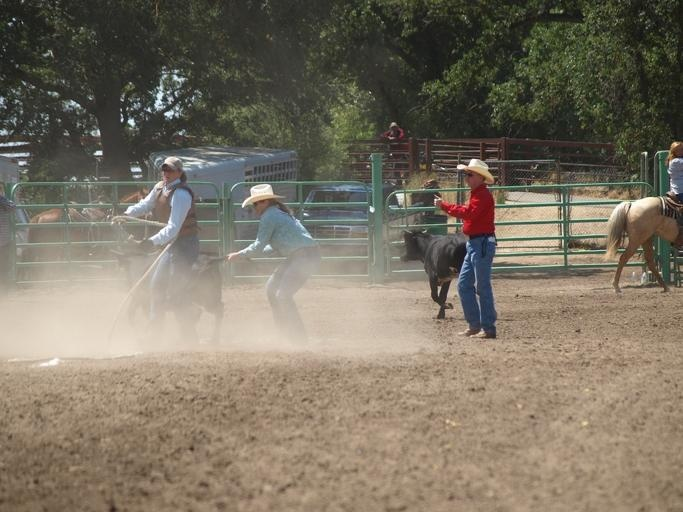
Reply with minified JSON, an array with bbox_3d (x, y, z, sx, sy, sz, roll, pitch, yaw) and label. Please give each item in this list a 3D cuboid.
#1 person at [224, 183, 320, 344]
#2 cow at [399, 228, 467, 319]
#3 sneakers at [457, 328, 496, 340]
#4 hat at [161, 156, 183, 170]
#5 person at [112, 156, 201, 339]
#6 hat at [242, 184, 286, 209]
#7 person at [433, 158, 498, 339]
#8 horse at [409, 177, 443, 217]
[{"bbox_3d":[-0.788,0.085,12.250,0.984,2.130,0.356,-3,4,-2],"label":"person"},{"bbox_3d":[1.639,0.286,14.473,0.539,1.533,1.891,-4,-3,-32],"label":"cow"},{"bbox_3d":[1.935,1.092,12.671,0.430,0.194,0.154,5,-2,28],"label":"sneakers"},{"bbox_3d":[-2.319,-1.259,12.303,0.244,0.195,0.422,-4,5,-12],"label":"hat"},{"bbox_3d":[-2.367,-0.056,12.379,0.777,2.568,1.009,-3,5,-7],"label":"person"},{"bbox_3d":[-1.087,-0.875,12.247,0.463,0.213,0.436,-10,-12,-20],"label":"hat"},{"bbox_3d":[1.834,-0.098,12.529,0.638,2.486,0.737,-2,5,10],"label":"person"},{"bbox_3d":[1.715,-1.227,18.512,0.588,1.036,0.922,2,-3,25],"label":"horse"}]
